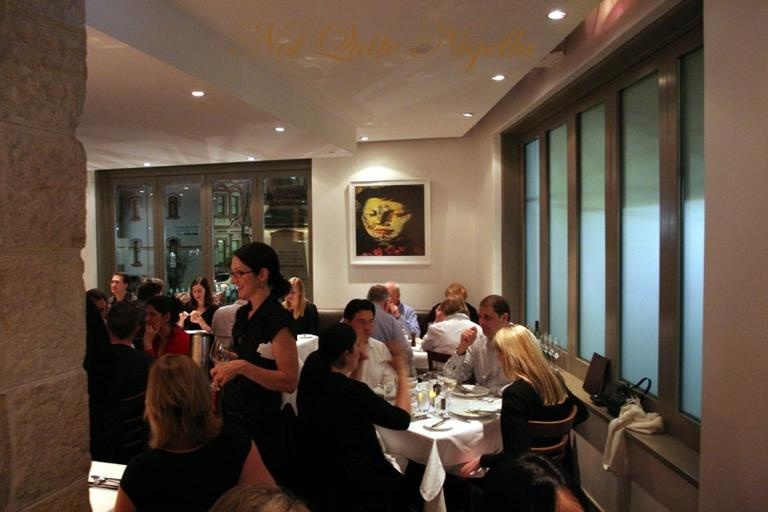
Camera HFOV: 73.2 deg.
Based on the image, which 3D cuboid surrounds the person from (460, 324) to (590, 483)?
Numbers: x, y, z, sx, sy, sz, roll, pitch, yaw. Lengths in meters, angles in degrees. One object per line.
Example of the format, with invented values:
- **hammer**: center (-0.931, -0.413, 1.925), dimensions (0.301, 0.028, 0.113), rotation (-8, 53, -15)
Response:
- **person**: center (0.860, 0.794, 3.187), dimensions (0.400, 0.691, 0.607), rotation (2, 3, 39)

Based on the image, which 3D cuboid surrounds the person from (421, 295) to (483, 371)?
- **person**: center (0.700, 0.709, 4.962), dimensions (0.428, 0.918, 0.531), rotation (-14, 40, -1)

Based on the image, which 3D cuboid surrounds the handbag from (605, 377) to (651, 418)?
- **handbag**: center (1.681, 0.961, 3.615), dimensions (0.240, 0.282, 0.312), rotation (0, 2, -2)

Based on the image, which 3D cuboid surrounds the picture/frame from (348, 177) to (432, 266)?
- **picture/frame**: center (0.108, -0.489, 6.743), dimensions (1.205, 1.152, 0.094), rotation (1, 7, 9)

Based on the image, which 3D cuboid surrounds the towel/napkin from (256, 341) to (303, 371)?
- **towel/napkin**: center (-0.575, 0.535, 2.755), dimensions (0.295, 0.113, 0.291), rotation (14, -15, -42)

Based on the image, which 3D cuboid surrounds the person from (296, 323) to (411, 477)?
- **person**: center (-0.225, 0.745, 2.626), dimensions (0.532, 0.775, 0.599), rotation (5, -3, -42)
